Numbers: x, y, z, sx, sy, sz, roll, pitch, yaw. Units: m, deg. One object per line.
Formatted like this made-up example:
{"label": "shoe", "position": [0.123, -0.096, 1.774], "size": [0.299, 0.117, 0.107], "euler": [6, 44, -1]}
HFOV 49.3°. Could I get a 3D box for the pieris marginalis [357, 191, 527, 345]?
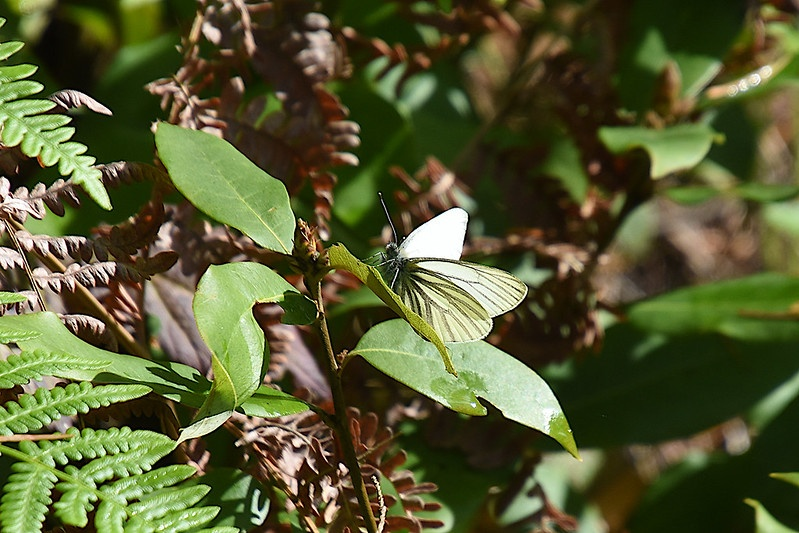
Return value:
{"label": "pieris marginalis", "position": [0.081, 0.022, 1.576], "size": [0.258, 0.264, 0.141], "euler": [40, 65, -10]}
